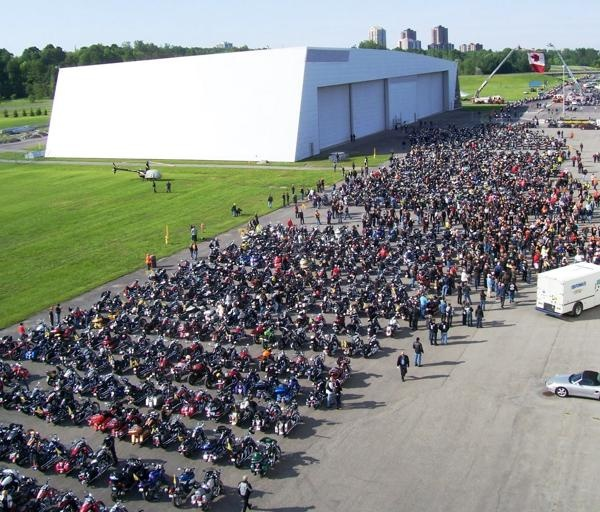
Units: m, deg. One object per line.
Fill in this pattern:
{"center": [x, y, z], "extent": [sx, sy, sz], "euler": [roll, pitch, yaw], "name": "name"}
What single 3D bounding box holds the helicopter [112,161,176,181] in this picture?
{"center": [-19.853, -10.643, 91.046], "extent": [4.298, 1.316, 4.240], "euler": [8, 24, 9], "name": "helicopter"}
